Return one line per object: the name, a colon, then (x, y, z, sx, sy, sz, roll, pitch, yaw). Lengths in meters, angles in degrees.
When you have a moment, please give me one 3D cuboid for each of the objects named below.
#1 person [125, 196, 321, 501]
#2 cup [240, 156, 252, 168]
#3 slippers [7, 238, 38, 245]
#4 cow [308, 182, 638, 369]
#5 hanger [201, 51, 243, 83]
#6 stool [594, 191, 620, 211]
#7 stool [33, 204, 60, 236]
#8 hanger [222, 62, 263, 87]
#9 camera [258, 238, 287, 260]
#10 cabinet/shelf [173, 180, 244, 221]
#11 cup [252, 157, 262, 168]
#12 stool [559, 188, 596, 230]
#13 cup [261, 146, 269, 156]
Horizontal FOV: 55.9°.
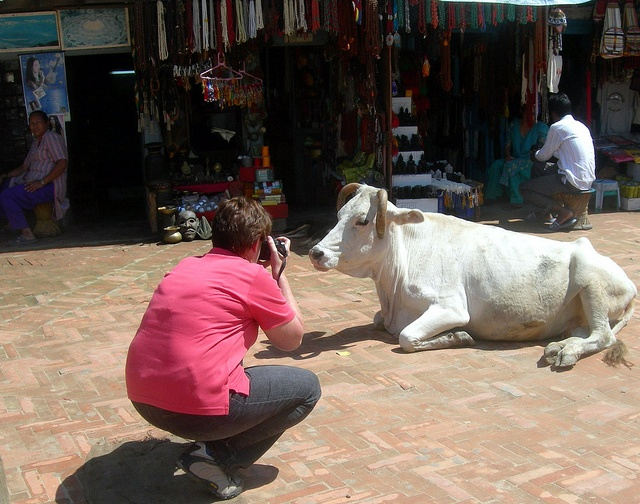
person: (-0.533, 0.572, 3.320, 0.957, 1.703, 0.433, -10, 14, -33)
cup: (-1.286, -1.584, 10.528, 0.197, 0.139, 0.194, 2, 18, -1)
slippers: (-4.824, -0.171, 9.752, 0.408, 0.115, 0.155, 0, 6, -20)
cow: (1.287, 0.239, 5.649, 2.643, 1.193, 1.538, -1, -4, 6)
hanger: (-1.627, -3.057, 9.878, 0.737, 0.443, 0.082, -2, 11, -25)
stool: (5.131, -0.973, 10.873, 0.419, 0.318, 0.406, -3, 26, 1)
stool: (-4.657, -0.546, 10.459, 0.485, 0.564, 0.499, -11, -9, 42)
hanger: (-1.367, -3.065, 10.383, 0.204, 0.230, 0.639, -18, -1, 23)
camera: (-0.313, -0.018, 3.949, 0.148, 0.087, 0.140, -1, 0, -9)
cabinet/shelf: (-1.706, -0.754, 8.703, 1.072, 0.693, 0.565, -3, 11, -8)
cup: (-1.086, -1.550, 10.381, 0.189, 0.169, 0.154, 0, 12, 10)
stool: (4.179, -0.700, 9.734, 0.601, 0.626, 0.644, -14, 12, 18)
cup: (-0.936, -1.755, 10.419, 0.161, 0.169, 0.156, 0, 11, 0)
